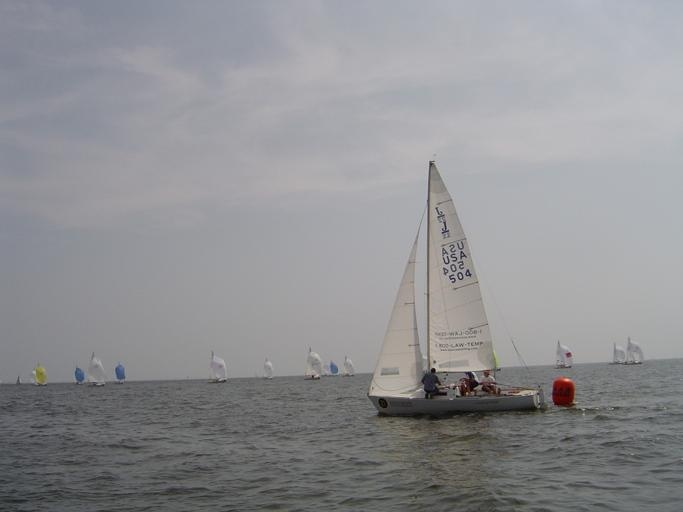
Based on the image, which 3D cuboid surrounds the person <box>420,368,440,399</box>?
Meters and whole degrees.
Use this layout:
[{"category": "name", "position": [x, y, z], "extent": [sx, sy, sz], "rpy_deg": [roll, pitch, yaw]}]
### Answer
[{"category": "person", "position": [4.588, 6.462, 38.733], "extent": [0.894, 1.457, 0.795], "rpy_deg": [0, -6, -10]}]

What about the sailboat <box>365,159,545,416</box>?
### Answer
[{"category": "sailboat", "position": [5.917, 1.906, 41.007], "extent": [10.390, 13.250, 4.243], "rpy_deg": [-1, -6, 1]}]
